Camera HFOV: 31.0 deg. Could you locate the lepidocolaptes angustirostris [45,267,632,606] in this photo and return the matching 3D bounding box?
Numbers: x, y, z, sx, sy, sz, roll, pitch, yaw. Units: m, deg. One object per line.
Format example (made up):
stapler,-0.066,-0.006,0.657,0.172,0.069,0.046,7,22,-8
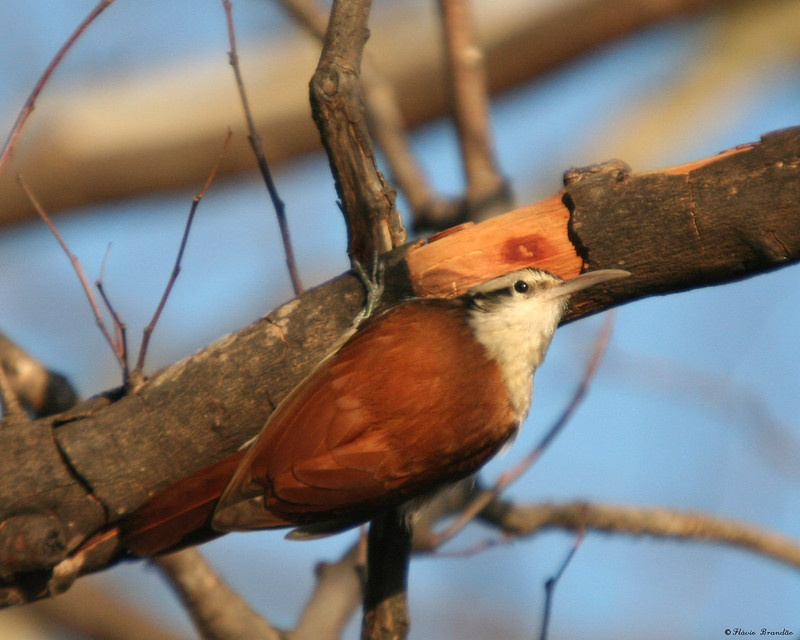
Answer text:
lepidocolaptes angustirostris,-0.353,0.406,5.807,1.647,0.718,0.520,-26,-44,1
